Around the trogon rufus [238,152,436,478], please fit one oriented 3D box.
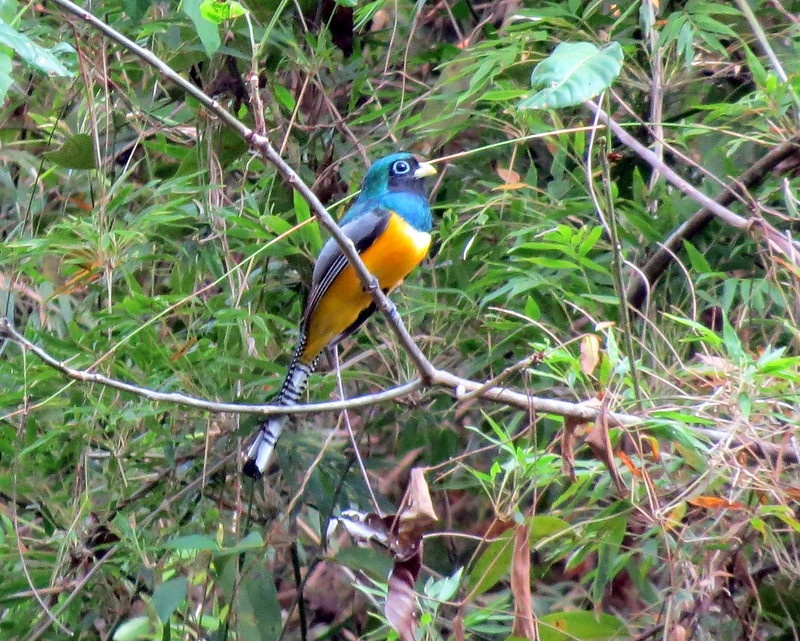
[{"bbox_3d":[-0.280,-0.002,4.212,1.430,0.368,0.557,-51,41,-2],"label":"trogon rufus"}]
